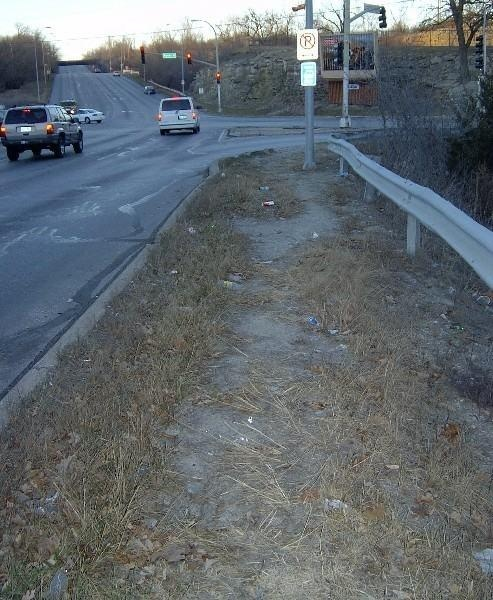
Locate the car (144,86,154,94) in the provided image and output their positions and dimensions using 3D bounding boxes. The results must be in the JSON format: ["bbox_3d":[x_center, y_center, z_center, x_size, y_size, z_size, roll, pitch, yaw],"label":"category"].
[{"bbox_3d":[-16.554,-35.727,94.979,1.682,1.471,3.164,-2,26,-11],"label":"car"}]

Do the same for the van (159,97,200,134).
[{"bbox_3d":[-3.955,-10.583,31.841,2.180,2.069,2.398,-5,22,-8],"label":"van"}]
